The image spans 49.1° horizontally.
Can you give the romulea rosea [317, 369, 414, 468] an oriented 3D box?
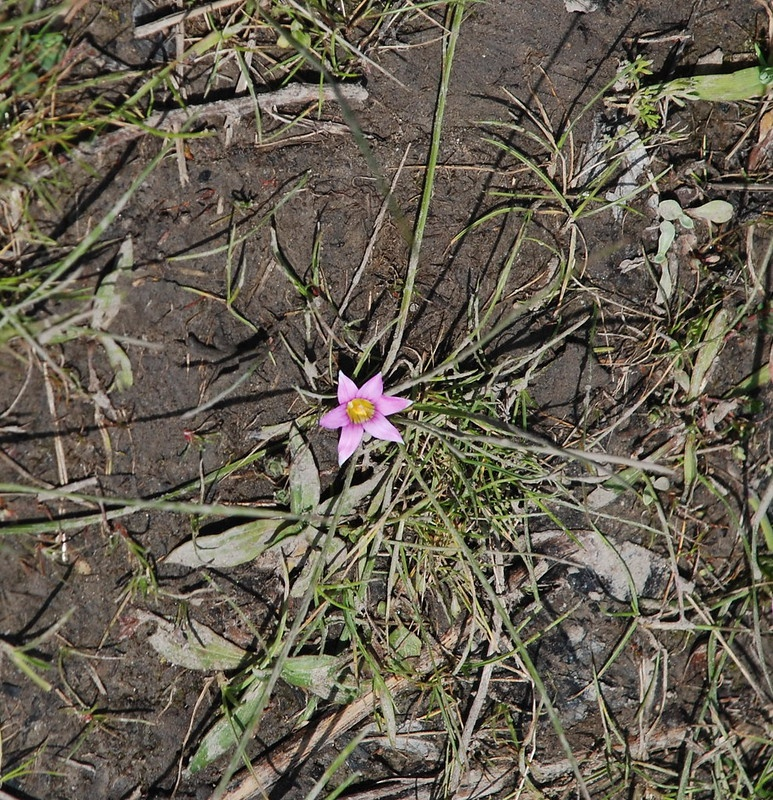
[{"bbox_3d":[-0.099,0.018,2.698,0.301,0.369,0.192,16,106,4],"label":"romulea rosea"}]
